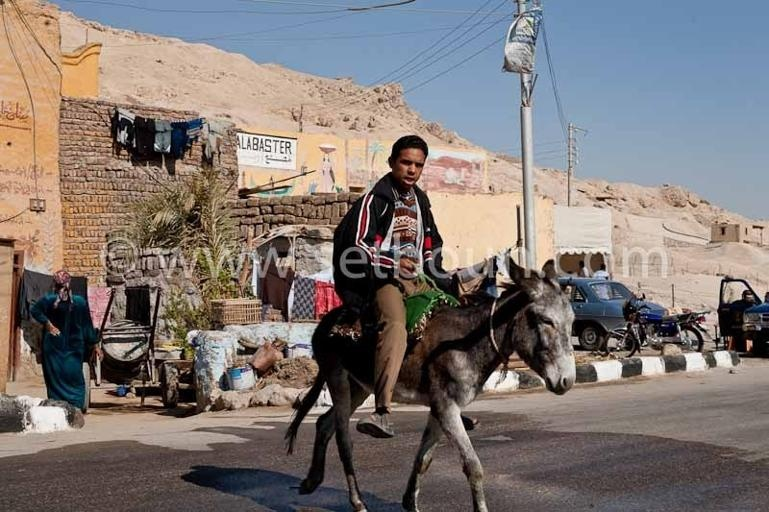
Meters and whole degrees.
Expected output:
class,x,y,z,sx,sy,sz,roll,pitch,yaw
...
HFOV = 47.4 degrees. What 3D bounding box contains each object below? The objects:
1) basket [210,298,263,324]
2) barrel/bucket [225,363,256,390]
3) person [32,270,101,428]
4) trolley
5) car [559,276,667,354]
class,x,y,z,sx,sy,sz,roll,pitch,yaw
basket,-3.440,1.267,20.367,1.135,0.654,0.978,1,-5,-7
barrel/bucket,-2.900,2.437,17.653,0.454,0.366,0.491,-1,-8,0
person,-5.682,1.475,15.564,0.703,2.361,0.761,-1,-5,21
trolley,-5.849,1.908,19.720,1.978,2.393,3.809,-1,8,-17
car,5.668,1.422,24.763,4.208,1.771,2.505,0,0,23
